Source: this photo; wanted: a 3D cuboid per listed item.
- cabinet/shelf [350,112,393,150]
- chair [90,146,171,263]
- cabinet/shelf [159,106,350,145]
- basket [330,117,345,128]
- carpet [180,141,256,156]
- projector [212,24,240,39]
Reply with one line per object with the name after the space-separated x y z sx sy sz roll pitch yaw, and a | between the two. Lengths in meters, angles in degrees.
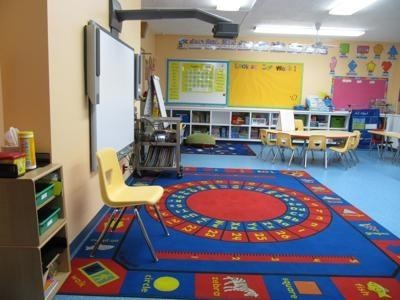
4.956 -0.605 8.438 0.596 1.132 0.856 1 4 -29 | cabinet/shelf
-0.771 0.447 3.070 0.940 1.265 0.886 0 6 3 | chair
1.514 -0.656 8.557 5.077 1.012 0.673 3 -7 16 | cabinet/shelf
3.993 -0.814 8.462 0.314 0.290 0.154 0 2 1 | basket
0.442 -0.068 7.844 1.874 0.071 2.004 1 12 -1 | carpet
0.300 -1.352 3.379 0.265 0.128 0.194 1 1 1 | projector
